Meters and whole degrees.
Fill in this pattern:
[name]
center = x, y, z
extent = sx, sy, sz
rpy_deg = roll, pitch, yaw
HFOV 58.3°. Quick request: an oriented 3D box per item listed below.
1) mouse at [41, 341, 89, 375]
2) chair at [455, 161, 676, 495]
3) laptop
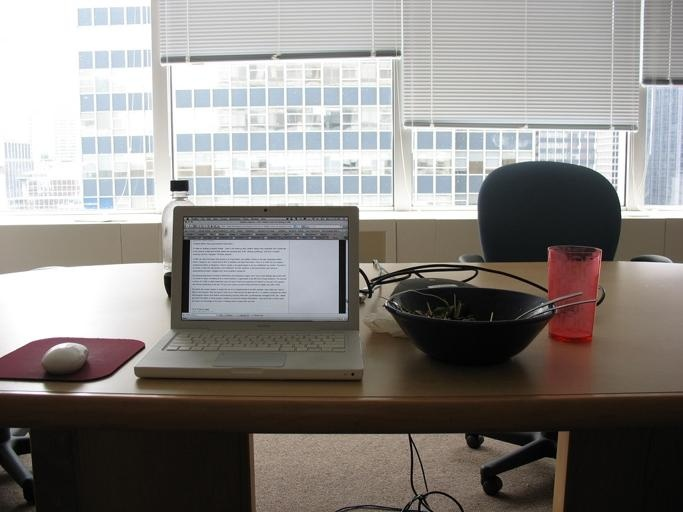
[mouse]
center = -0.558, 0.202, 1.258
extent = 0.084, 0.052, 0.112
rpy_deg = 0, 8, 2
[chair]
center = 0.846, 0.243, 2.321
extent = 0.800, 1.204, 0.719
rpy_deg = -1, 6, -21
[laptop]
center = -0.166, 0.050, 1.238
extent = 0.432, 0.291, 0.353
rpy_deg = 1, 8, 2
